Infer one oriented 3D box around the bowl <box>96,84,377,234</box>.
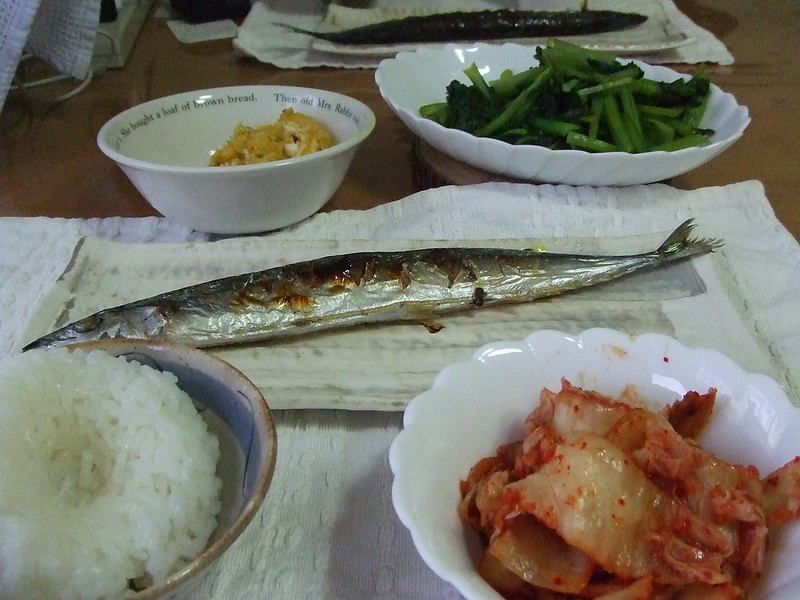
[{"bbox_3d":[-0.589,-0.465,2.780,0.676,0.287,0.732,0,39,0],"label":"bowl"}]
